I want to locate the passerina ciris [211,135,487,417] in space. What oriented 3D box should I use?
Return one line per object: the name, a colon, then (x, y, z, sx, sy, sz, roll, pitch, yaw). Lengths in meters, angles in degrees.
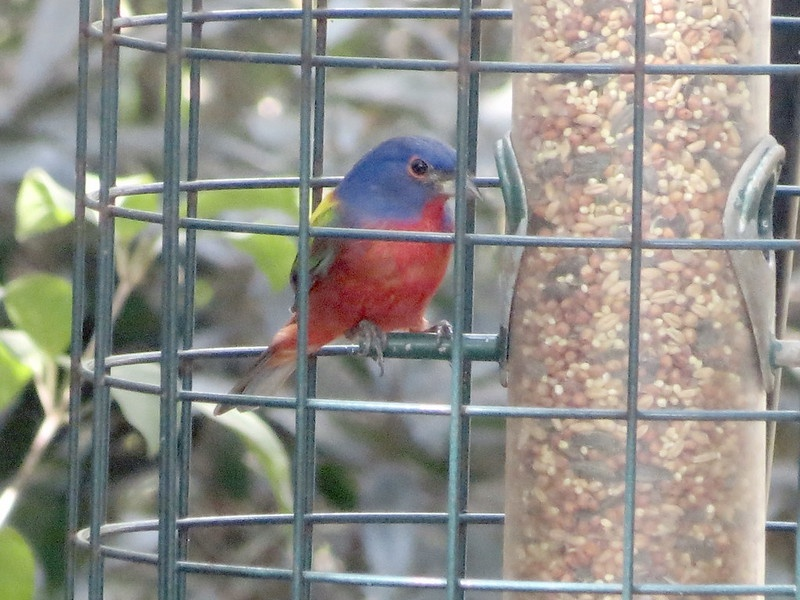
passerina ciris: (-0.182, -0.151, 4.874, 0.912, 0.491, 0.875, 9, 103, 33)
